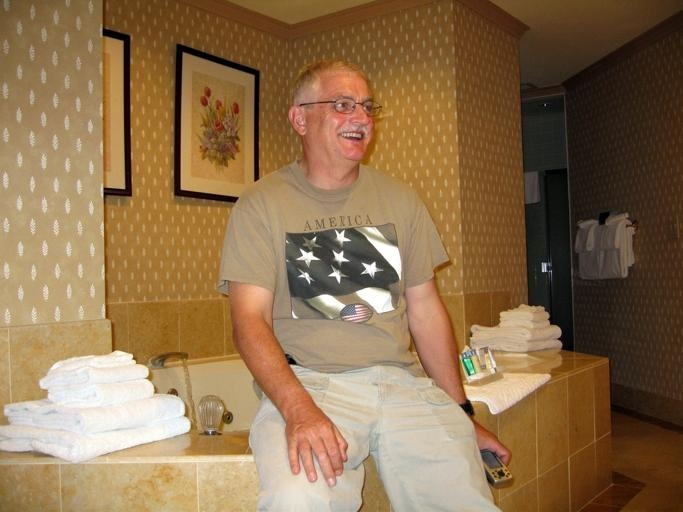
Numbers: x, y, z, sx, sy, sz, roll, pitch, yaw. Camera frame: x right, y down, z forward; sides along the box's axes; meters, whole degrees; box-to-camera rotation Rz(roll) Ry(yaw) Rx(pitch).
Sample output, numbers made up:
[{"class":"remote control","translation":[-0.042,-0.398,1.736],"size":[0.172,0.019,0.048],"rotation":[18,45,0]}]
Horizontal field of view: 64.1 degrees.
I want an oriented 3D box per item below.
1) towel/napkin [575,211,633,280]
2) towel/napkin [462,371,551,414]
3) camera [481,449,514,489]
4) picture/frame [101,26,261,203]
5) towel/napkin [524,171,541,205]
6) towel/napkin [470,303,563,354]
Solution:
[{"class":"towel/napkin","translation":[2.406,-0.091,4.944],"size":[0.252,0.640,0.573],"rotation":[1,1,-23]},{"class":"towel/napkin","translation":[0.739,0.614,2.440],"size":[0.236,0.072,0.385],"rotation":[-4,2,32]},{"class":"camera","translation":[0.502,0.676,1.744],"size":[0.082,0.042,0.166],"rotation":[-3,20,-4]},{"class":"picture/frame","translation":[-1.055,-0.892,3.465],"size":[0.045,1.029,1.289],"rotation":[-5,-7,34]},{"class":"towel/napkin","translation":[2.114,-0.762,6.044],"size":[0.168,0.370,0.031],"rotation":[-5,0,3]},{"class":"towel/napkin","translation":[1.141,0.486,3.520],"size":[0.362,0.219,0.399],"rotation":[-5,-4,31]}]
